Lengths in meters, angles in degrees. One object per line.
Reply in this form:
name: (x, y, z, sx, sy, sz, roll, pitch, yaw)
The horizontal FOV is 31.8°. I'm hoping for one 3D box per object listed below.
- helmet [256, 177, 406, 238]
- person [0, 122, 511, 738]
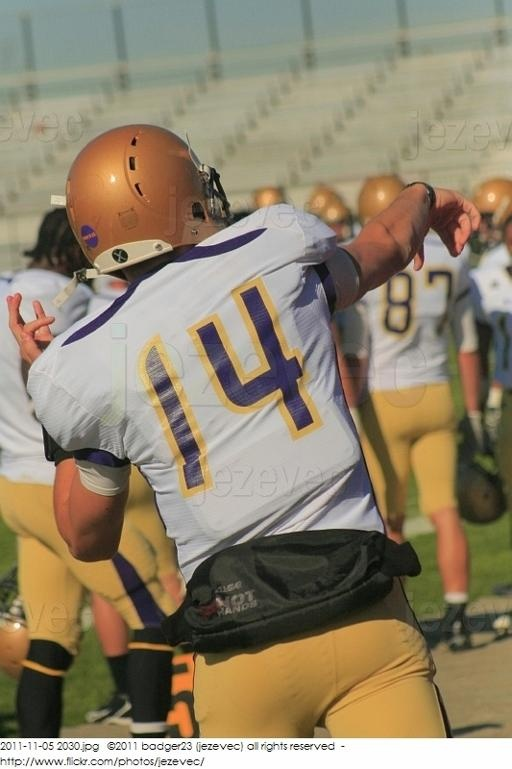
helmet: (0.314, -0.490, 2.450, 0.598, 0.138, 0.192, -4, 13, 3)
person: (0.075, 0.188, 1.566, 0.786, 0.944, 0.569, -19, 22, -11)
